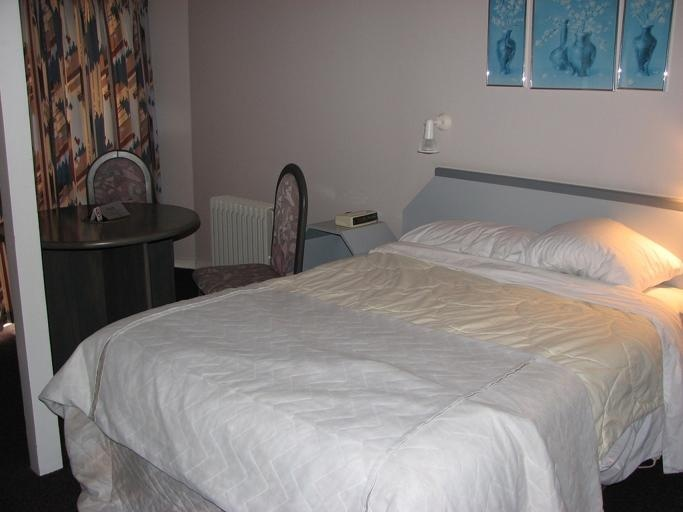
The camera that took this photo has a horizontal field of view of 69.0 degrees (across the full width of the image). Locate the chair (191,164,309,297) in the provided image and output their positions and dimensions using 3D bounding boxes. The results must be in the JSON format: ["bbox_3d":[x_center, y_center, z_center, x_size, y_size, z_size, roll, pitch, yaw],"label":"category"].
[{"bbox_3d":[-0.628,-0.031,3.308,0.661,1.155,0.590,-5,19,-26],"label":"chair"}]

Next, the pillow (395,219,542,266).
[{"bbox_3d":[0.774,-0.102,2.981,0.534,0.104,0.337,10,22,37],"label":"pillow"}]

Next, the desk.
[{"bbox_3d":[-1.547,0.118,3.380,0.923,1.044,1.029,8,19,3],"label":"desk"}]

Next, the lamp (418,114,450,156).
[{"bbox_3d":[0.605,-0.807,3.289,0.214,0.262,0.291,7,15,22],"label":"lamp"}]

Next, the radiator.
[{"bbox_3d":[-0.889,-0.163,4.383,0.566,0.554,0.103,9,-13,-38],"label":"radiator"}]
